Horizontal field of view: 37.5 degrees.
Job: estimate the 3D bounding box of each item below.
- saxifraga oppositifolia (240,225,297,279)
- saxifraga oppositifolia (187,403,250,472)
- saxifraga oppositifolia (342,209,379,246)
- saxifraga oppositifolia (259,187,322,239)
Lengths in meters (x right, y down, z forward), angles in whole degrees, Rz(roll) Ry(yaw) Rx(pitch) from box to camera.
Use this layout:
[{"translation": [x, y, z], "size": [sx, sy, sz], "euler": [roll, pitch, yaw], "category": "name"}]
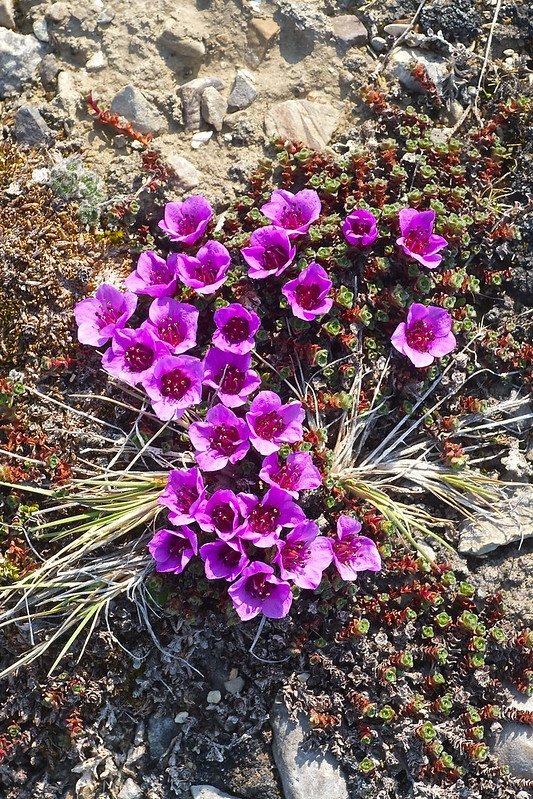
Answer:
[{"translation": [0.027, -0.968, 5.096], "size": [0.363, 0.217, 0.355], "euler": [-6, 70, 22], "category": "saxifraga oppositifolia"}, {"translation": [-0.264, 0.209, 4.810], "size": [0.516, 0.206, 0.518], "euler": [-2, 24, 15], "category": "saxifraga oppositifolia"}, {"translation": [0.632, -1.127, 5.232], "size": [0.215, 0.245, 0.247], "euler": [-1, 84, 12], "category": "saxifraga oppositifolia"}, {"translation": [0.184, -1.261, 5.199], "size": [0.349, 0.193, 0.350], "euler": [0, 64, 14], "category": "saxifraga oppositifolia"}]
